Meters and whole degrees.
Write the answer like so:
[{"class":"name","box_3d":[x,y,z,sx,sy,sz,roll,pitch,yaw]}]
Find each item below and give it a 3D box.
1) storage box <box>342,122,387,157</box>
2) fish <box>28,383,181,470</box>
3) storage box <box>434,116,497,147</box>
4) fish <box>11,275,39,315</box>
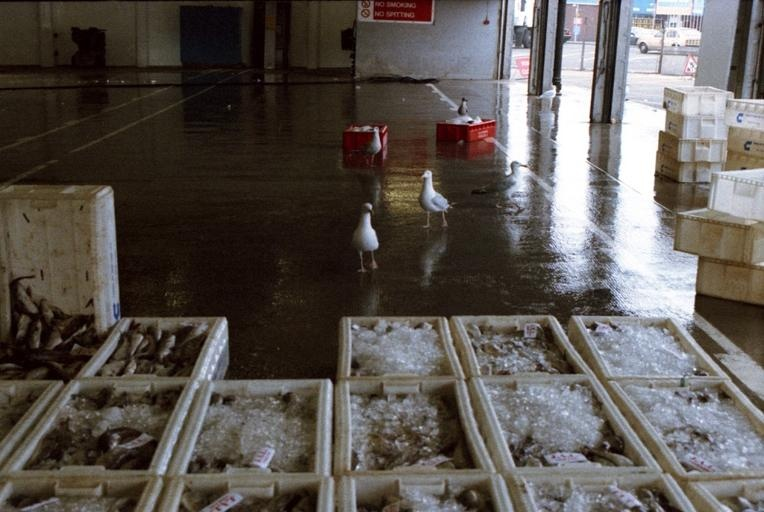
[{"class":"storage box","box_3d":[-0.371,-2.287,11.949,0.838,0.465,0.784,2,24,3]},{"class":"fish","box_3d":[-1.778,1.124,4.050,0.730,0.266,0.696,1,18,5]},{"class":"storage box","box_3d":[1.895,-2.729,13.672,1.116,0.356,0.645,-11,20,-33]},{"class":"fish","box_3d":[-3.005,0.334,5.211,0.243,0.306,0.093,-27,4,-37]}]
